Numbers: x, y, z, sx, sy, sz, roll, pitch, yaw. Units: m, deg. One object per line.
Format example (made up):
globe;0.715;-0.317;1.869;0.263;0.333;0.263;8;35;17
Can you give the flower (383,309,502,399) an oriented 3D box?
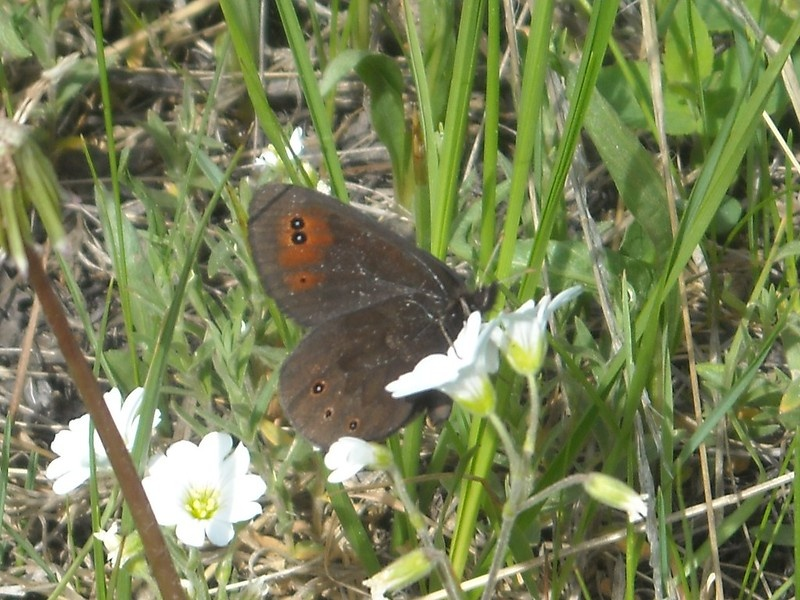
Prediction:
flower;0.113;0.142;2.368;0.273;0.265;0.240;-16;36;-13

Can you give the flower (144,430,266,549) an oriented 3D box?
flower;-0.577;0.569;2.775;0.258;0.330;0.410;-9;19;-31

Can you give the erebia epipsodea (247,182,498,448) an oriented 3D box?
erebia epipsodea;-0.089;0.003;3.069;0.610;1.102;0.346;-12;7;14
